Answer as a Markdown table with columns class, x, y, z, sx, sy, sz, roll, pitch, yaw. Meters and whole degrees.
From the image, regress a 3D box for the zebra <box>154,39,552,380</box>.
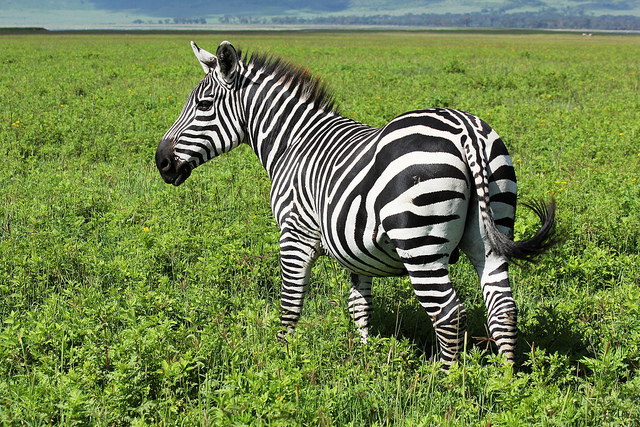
| class | x | y | z | sx | sy | sz | roll | pitch | yaw |
| --- | --- | --- | --- | --- | --- | --- | --- | --- | --- |
| zebra | 0.276 | -0.163 | 9.206 | 5.946 | 4.334 | 1.903 | 7 | 13 | 32 |
